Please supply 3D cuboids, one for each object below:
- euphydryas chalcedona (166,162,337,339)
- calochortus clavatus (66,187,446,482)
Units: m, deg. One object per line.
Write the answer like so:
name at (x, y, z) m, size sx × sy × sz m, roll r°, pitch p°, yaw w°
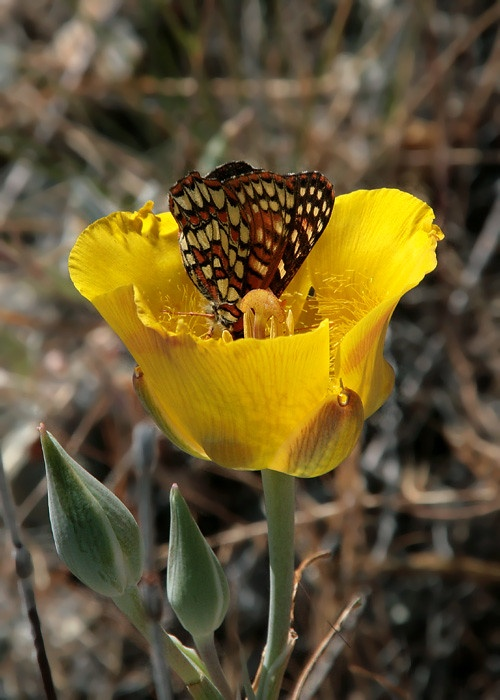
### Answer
euphydryas chalcedona at (0.008, -0.125, 0.782) m, size 0.191 × 0.183 × 0.186 m, roll -9°, pitch 22°, yaw -30°
calochortus clavatus at (0.035, -0.001, 0.712) m, size 0.333 × 0.324 × 0.432 m, roll -4°, pitch 16°, yaw -10°
